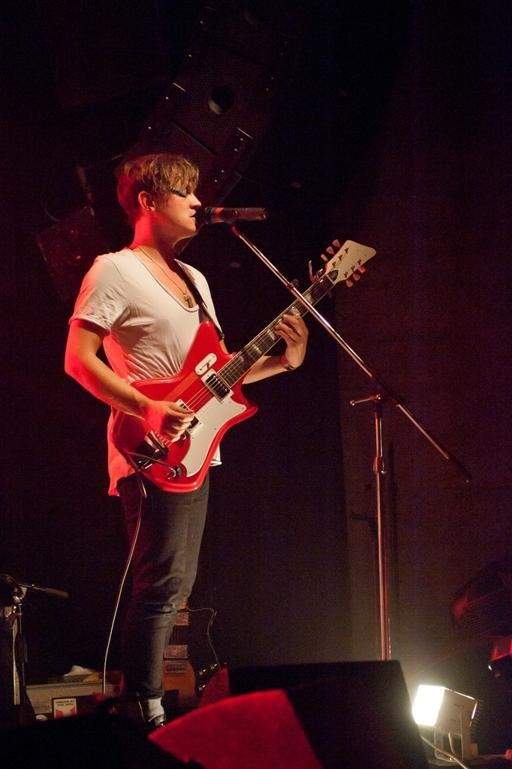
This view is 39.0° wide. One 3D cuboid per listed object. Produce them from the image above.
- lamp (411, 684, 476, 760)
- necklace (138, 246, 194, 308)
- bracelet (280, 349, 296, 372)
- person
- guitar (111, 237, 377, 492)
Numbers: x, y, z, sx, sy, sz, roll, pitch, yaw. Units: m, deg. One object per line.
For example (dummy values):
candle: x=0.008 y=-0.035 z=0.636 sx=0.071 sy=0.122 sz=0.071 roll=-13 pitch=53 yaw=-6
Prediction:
lamp: x=0.580 y=1.060 z=2.283 sx=0.110 sy=0.182 sz=0.236 roll=11 pitch=-18 yaw=-24
necklace: x=-0.277 y=-0.337 z=2.250 sx=0.125 sy=0.237 sz=0.033 roll=-11 pitch=-26 yaw=-50
bracelet: x=0.104 y=-0.081 z=2.450 sx=0.058 sy=0.059 sz=0.032 roll=-2 pitch=-25 yaw=-32
person: x=-0.244 y=0.090 z=2.166 sx=0.368 sy=1.682 sz=0.688 roll=-11 pitch=-22 yaw=41
guitar: x=-0.053 y=-0.074 z=2.631 sx=0.314 sy=0.891 sz=0.887 roll=52 pitch=-29 yaw=-9
